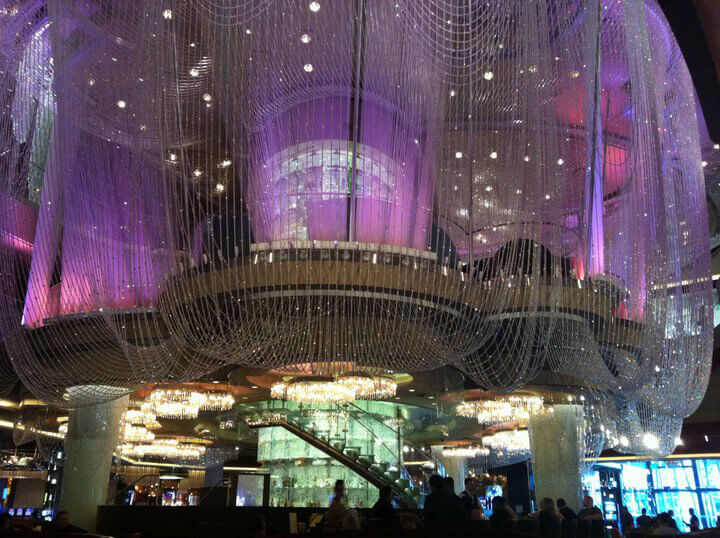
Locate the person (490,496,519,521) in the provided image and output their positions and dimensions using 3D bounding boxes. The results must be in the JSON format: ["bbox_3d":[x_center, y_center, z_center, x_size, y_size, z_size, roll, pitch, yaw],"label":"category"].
[{"bbox_3d":[3.350,5.725,14.923,0.419,0.519,0.934,-10,-23,19],"label":"person"}]
